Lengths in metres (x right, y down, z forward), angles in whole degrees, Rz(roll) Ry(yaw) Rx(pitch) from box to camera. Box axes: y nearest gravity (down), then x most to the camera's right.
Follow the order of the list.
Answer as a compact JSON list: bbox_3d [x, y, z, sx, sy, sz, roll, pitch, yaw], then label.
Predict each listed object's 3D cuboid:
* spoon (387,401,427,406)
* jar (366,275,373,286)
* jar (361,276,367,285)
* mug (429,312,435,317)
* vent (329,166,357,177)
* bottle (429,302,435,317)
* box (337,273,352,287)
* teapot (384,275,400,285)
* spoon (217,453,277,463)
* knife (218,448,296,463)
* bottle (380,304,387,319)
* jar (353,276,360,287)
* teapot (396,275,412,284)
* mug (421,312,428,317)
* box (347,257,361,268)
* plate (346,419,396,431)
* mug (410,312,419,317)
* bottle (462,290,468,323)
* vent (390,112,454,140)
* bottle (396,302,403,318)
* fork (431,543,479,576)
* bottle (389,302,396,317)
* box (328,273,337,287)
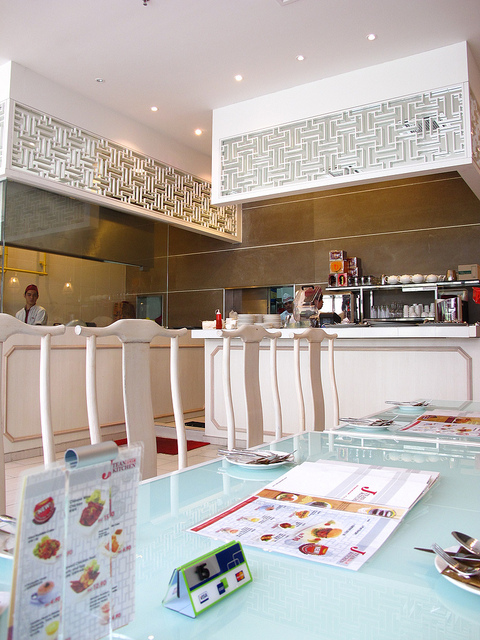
[{"bbox_3d":[0.653,0.313,1.787,0.170,0.009,0.113,-1,-5,-9],"label":"spoon"},{"bbox_3d":[1.540,-0.462,5.614,0.088,0.170,0.091,0,-4,0],"label":"jar"},{"bbox_3d":[1.464,-0.475,5.630,0.074,0.144,0.076,2,-5,0],"label":"jar"},{"bbox_3d":[2.138,-0.059,5.288,0.040,0.042,0.076,0,3,14],"label":"mug"},{"bbox_3d":[0.896,-1.305,4.170,0.227,0.075,0.028,-4,-6,24],"label":"vent"},{"bbox_3d":[2.164,-0.114,5.342,0.054,0.176,0.200,-4,-6,24],"label":"bottle"},{"bbox_3d":[1.240,-0.480,5.679,0.178,0.185,0.137,-2,-7,30],"label":"box"},{"bbox_3d":[1.765,-0.465,5.478,0.114,0.080,0.096,1,3,-3],"label":"teapot"},{"bbox_3d":[0.008,0.280,0.966,0.114,0.010,0.039,-1,-3,13],"label":"spoon"},{"bbox_3d":[0.035,0.285,0.997,0.185,0.019,0.022,10,-6,-26],"label":"knife"},{"bbox_3d":[1.696,-0.096,5.579,0.079,0.144,0.088,-6,-7,34],"label":"bottle"},{"bbox_3d":[1.401,-0.462,5.710,0.078,0.141,0.111,-3,-6,14],"label":"jar"},{"bbox_3d":[1.894,-0.456,5.455,0.127,0.093,0.099,-7,-4,11],"label":"teapot"},{"bbox_3d":[2.082,-0.059,5.344,0.067,0.055,0.039,-4,-6,21],"label":"mug"},{"bbox_3d":[1.406,-0.710,5.832,0.127,0.128,0.131,2,4,31],"label":"box"},{"bbox_3d":[0.401,0.302,1.372,0.189,0.019,0.097,1,-6,-32],"label":"plate"},{"bbox_3d":[1.978,-0.060,5.369,0.042,0.058,0.096,4,-8,-43],"label":"mug"},{"bbox_3d":[2.372,-0.166,4.992,0.047,0.363,0.558,-5,-6,27],"label":"bottle"},{"bbox_3d":[1.479,-1.548,3.779,0.399,0.190,0.059,-6,-7,35],"label":"vent"},{"bbox_3d":[1.862,-0.113,5.532,0.073,0.180,0.119,-4,-6,22],"label":"bottle"},{"bbox_3d":[0.203,0.226,0.454,0.010,0.010,0.056,10,2,-20],"label":"fork"},{"bbox_3d":[1.805,-0.120,5.586,0.070,0.173,0.130,-5,-6,26],"label":"bottle"},{"bbox_3d":[1.135,-0.492,5.885,0.122,0.180,0.133,2,3,35],"label":"box"}]
